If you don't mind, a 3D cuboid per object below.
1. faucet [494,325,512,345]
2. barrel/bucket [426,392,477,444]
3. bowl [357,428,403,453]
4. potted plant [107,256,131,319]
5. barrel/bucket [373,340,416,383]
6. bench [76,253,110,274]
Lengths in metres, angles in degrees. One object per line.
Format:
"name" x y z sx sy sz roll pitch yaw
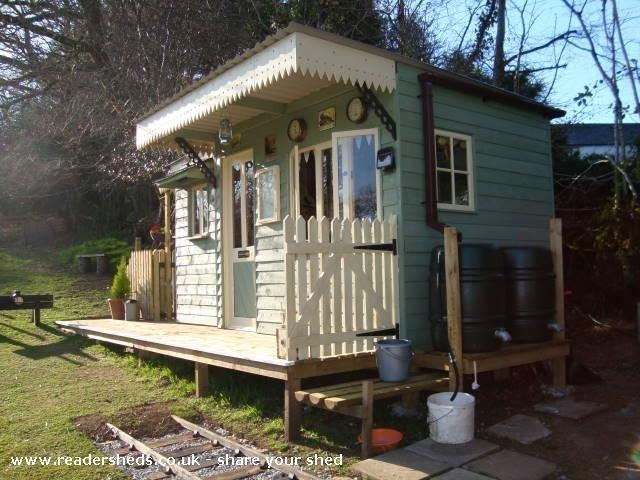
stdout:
"faucet" 2.417 1.276 7.460 0.168 0.205 0.178 -5 8 -27
"barrel/bucket" 1.549 2.103 6.733 0.470 0.432 0.528 -1 -5 8
"bowl" 0.729 2.289 6.645 0.394 0.107 0.292 -4 0 -28
"potted plant" -4.682 1.100 13.070 0.473 1.182 1.899 -4 8 -19
"barrel/bucket" 0.950 1.536 7.187 0.475 0.447 0.457 -2 -11 0
"bench" -8.410 0.812 20.806 1.004 0.737 1.512 -8 10 -39
